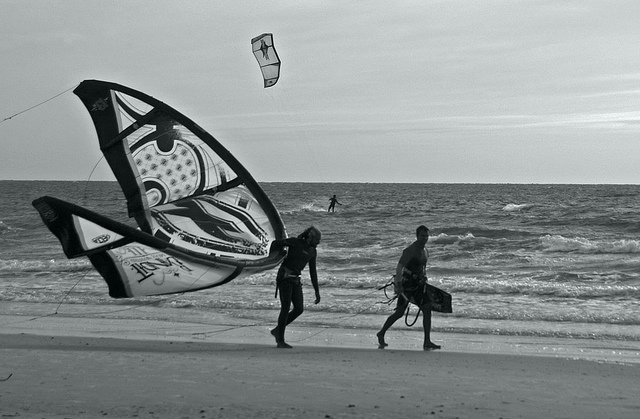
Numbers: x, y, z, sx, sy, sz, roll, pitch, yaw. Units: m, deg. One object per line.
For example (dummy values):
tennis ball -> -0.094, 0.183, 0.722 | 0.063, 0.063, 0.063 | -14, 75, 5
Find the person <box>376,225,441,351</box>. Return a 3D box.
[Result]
person -> 1.695, 1.382, 12.155 | 1.268, 2.185, 0.790 | 0, -1, 20

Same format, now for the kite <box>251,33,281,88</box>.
kite -> -1.178, -3.425, 15.034 | 0.719, 1.244, 0.343 | -5, 6, 45

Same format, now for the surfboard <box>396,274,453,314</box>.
surfboard -> 2.047, 1.509, 11.904 | 0.463, 0.446, 1.146 | 18, 1, -43

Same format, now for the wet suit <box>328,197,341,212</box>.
wet suit -> 1.037, -0.392, 48.324 | 1.021, 1.392, 0.506 | 8, 25, 13

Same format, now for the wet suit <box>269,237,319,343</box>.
wet suit -> -0.459, 1.461, 11.735 | 0.868, 1.953, 0.558 | -4, 5, 8

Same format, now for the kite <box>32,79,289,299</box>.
kite -> -2.643, -0.542, 11.414 | 3.849, 3.869, 2.844 | -5, 5, -3
